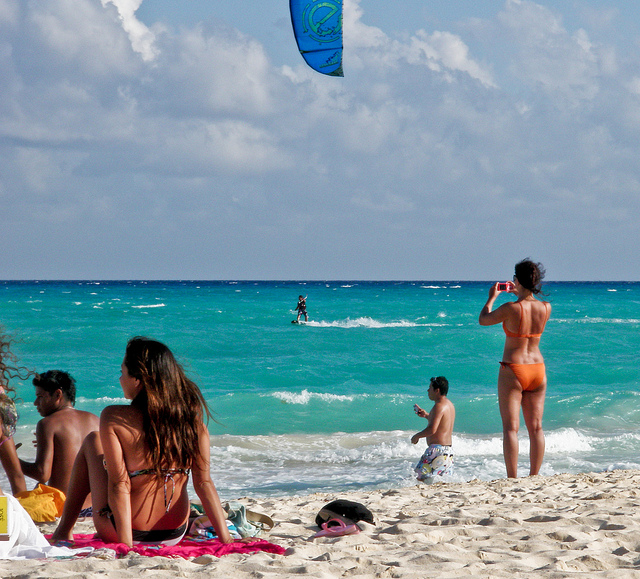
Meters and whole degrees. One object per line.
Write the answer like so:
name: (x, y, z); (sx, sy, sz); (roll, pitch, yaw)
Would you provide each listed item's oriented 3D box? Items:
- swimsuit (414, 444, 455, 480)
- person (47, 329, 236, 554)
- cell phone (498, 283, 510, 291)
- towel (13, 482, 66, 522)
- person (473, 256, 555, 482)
swimsuit: (1.320, 1.871, 9.581); (0.482, 0.457, 0.259); (-2, 17, -32)
person: (-1.301, 1.106, 6.097); (0.768, 1.440, 1.595); (5, 0, -40)
cell phone: (1.792, -0.035, 8.388); (0.077, 0.080, 0.144); (2, 4, 4)
towel: (-2.332, 1.742, 7.170); (0.311, 0.131, 0.410); (3, 29, -18)
person: (1.924, 0.829, 8.404); (0.587, 2.209, 0.920); (2, 2, 39)
